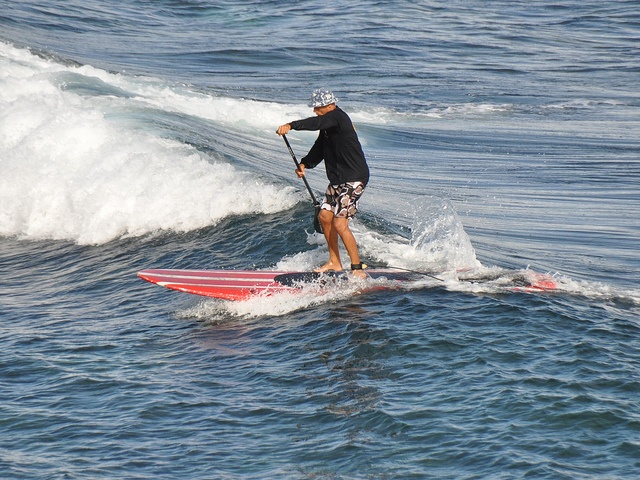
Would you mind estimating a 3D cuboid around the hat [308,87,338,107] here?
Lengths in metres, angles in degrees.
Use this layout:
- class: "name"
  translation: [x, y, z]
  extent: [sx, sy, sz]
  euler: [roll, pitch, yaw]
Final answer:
- class: "hat"
  translation: [0.045, -2.073, 14.017]
  extent: [0.498, 0.129, 0.346]
  euler: [-6, 16, -2]
